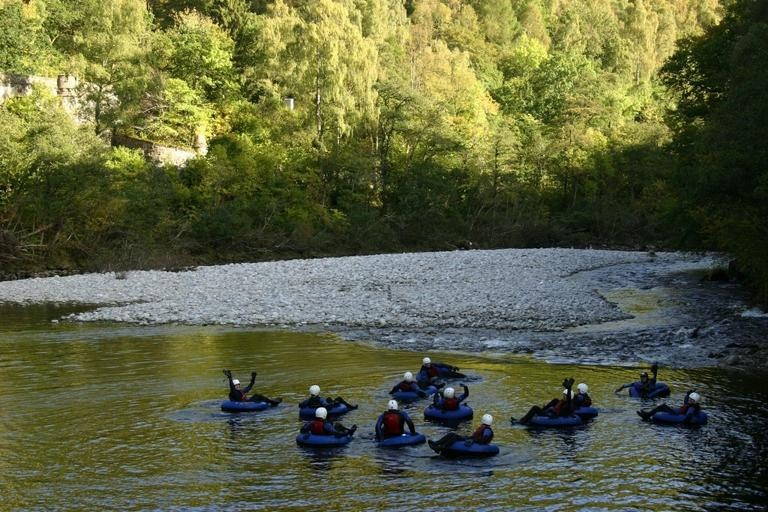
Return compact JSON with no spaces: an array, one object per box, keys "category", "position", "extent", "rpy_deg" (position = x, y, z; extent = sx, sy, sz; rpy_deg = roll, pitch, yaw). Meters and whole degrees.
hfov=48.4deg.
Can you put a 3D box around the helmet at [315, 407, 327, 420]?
[{"category":"helmet","position":[-1.944,4.772,26.661],"extent":[0.341,0.264,0.398],"rpy_deg":[8,8,23]}]

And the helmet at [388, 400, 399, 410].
[{"category":"helmet","position":[0.306,4.539,26.593],"extent":[0.313,0.237,0.352],"rpy_deg":[3,9,3]}]

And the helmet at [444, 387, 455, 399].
[{"category":"helmet","position":[2.185,4.352,27.788],"extent":[0.328,0.229,0.334],"rpy_deg":[9,16,11]}]

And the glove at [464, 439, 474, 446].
[{"category":"glove","position":[2.617,5.560,25.952],"extent":[0.255,0.194,0.141],"rpy_deg":[-2,9,3]}]

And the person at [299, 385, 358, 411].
[{"category":"person","position":[-1.832,4.595,28.079],"extent":[1.531,0.524,0.994],"rpy_deg":[1,0,-24]}]

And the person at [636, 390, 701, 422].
[{"category":"person","position":[9.391,4.791,27.533],"extent":[1.619,0.551,1.236],"rpy_deg":[1,-1,12]}]

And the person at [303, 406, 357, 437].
[{"category":"person","position":[-1.692,5.168,26.574],"extent":[1.314,0.560,1.194],"rpy_deg":[-1,4,-35]}]

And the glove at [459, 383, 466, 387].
[{"category":"glove","position":[2.754,4.357,29.519],"extent":[0.289,0.054,0.204],"rpy_deg":[-1,0,2]}]

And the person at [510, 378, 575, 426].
[{"category":"person","position":[5.203,4.809,27.652],"extent":[2.236,1.029,1.063],"rpy_deg":[-5,5,13]}]

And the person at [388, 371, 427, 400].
[{"category":"person","position":[0.845,4.432,29.188],"extent":[1.116,0.461,1.142],"rpy_deg":[2,1,10]}]

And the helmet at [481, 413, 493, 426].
[{"category":"helmet","position":[3.270,4.954,26.468],"extent":[0.324,0.254,0.389],"rpy_deg":[11,10,5]}]

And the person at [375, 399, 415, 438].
[{"category":"person","position":[0.357,4.979,26.468],"extent":[1.241,1.185,0.442],"rpy_deg":[-3,9,-6]}]

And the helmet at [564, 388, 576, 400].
[{"category":"helmet","position":[6.022,4.343,27.607],"extent":[0.361,0.181,0.460],"rpy_deg":[8,1,24]}]

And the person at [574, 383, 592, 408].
[{"category":"person","position":[6.586,4.446,28.063],"extent":[0.492,0.656,1.122],"rpy_deg":[-1,7,13]}]
